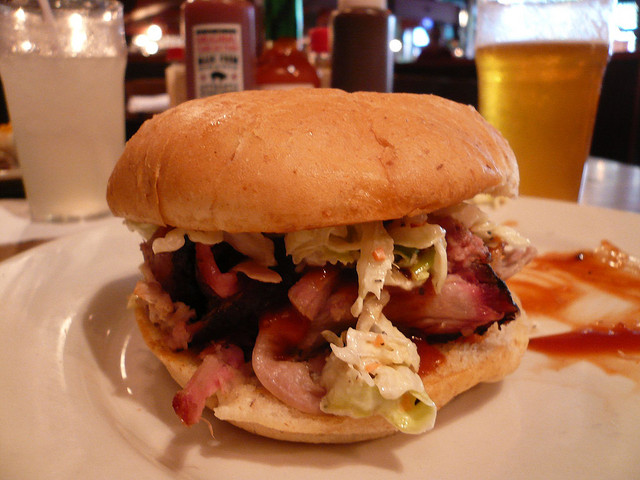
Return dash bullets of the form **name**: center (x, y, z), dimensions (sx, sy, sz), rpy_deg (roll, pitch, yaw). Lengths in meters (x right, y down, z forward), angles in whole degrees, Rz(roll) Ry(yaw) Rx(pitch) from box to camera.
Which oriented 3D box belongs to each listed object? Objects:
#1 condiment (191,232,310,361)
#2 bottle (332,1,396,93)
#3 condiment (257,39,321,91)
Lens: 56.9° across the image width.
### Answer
- **condiment**: center (-0.217, 0.245, 2.076), dimensions (0.347, 0.122, 0.454), rpy_deg (37, 52, -3)
- **bottle**: center (0.239, -1.093, 3.353), dimensions (0.339, 0.484, 0.206), rpy_deg (-1, 22, 1)
- **condiment**: center (-0.219, -1.143, 3.830), dimensions (0.403, 0.290, 0.281), rpy_deg (0, 22, 3)
